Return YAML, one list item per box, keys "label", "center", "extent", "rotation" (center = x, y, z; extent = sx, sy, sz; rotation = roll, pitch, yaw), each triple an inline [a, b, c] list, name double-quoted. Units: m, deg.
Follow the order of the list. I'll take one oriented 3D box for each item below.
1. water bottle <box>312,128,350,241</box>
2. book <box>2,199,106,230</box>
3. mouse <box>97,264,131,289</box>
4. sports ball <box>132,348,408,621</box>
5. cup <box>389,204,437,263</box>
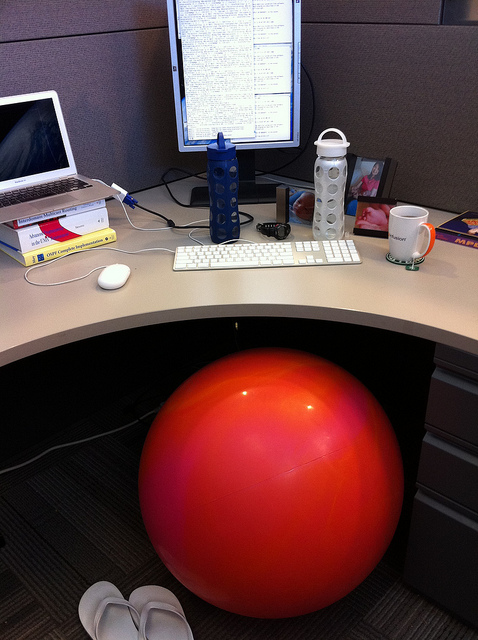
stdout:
- label: "water bottle"
  center: [0.206, -0.303, 1.049]
  extent: [0.077, 0.230, 0.152]
  rotation: [4, 34, 11]
- label: "book"
  center: [-0.384, -0.233, 1.009]
  extent: [0.212, 0.039, 0.020]
  rotation: [-32, 43, -33]
- label: "mouse"
  center: [-0.236, -0.088, 0.891]
  extent: [0.048, 0.022, 0.089]
  rotation: [4, 37, 10]
- label: "sports ball"
  center: [0.054, 0.327, 0.991]
  extent: [0.472, 0.505, 0.473]
  rotation: [11, 26, -5]
- label: "cup"
  center: [0.345, -0.174, 0.943]
  extent: [0.079, 0.099, 0.128]
  rotation: [7, 36, 14]
